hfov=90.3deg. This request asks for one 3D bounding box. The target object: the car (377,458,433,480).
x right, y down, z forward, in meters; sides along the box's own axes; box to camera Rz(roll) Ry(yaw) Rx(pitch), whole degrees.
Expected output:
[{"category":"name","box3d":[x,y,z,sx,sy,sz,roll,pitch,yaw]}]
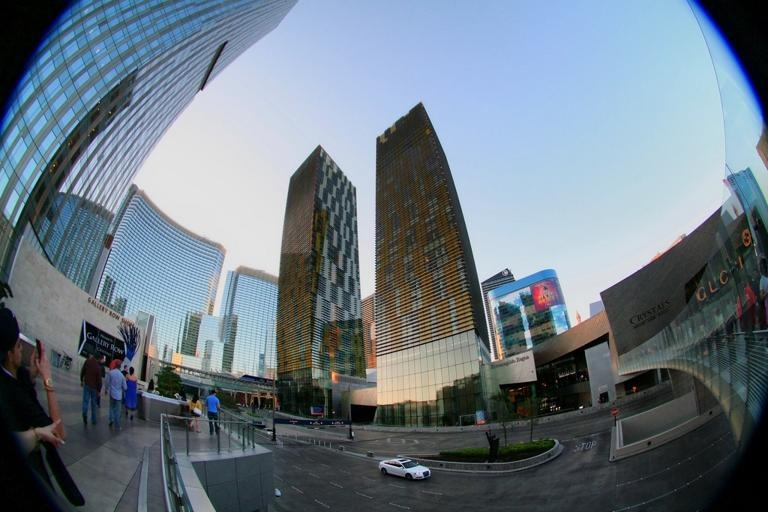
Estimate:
[{"category":"car","box3d":[1.443,15.245,27.174,1.216,1.206,3.660,17,-32,-40]}]
